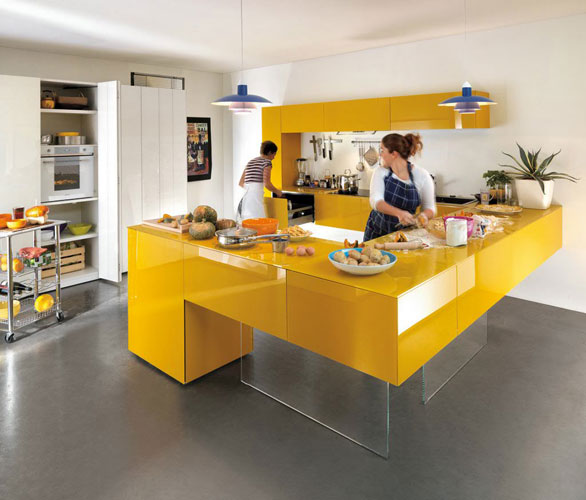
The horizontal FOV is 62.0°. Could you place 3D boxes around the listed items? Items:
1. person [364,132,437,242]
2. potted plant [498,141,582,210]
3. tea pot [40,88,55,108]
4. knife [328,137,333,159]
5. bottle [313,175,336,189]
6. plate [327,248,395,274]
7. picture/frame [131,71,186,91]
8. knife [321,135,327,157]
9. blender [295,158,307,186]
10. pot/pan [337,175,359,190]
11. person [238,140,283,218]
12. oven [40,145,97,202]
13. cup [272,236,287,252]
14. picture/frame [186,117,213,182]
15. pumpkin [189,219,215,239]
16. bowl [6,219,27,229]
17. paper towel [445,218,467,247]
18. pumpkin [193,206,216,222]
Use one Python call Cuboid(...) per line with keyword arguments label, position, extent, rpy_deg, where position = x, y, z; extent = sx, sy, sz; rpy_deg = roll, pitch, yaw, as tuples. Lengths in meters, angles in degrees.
Cuboid(label="person", position=(0.894, -0.291, 4.093), extent=(0.524, 1.254, 0.486), rpy_deg=(11, 22, 25))
Cuboid(label="potted plant", position=(2.497, -0.706, 4.932), extent=(0.778, 0.548, 0.797), rpy_deg=(4, 4, 19))
Cuboid(label="tea pot", position=(-2.976, -1.823, 5.941), extent=(0.170, 0.237, 0.571), rpy_deg=(-7, 17, -25))
Cuboid(label="knife", position=(0.541, -1.440, 7.048), extent=(0.082, 0.310, 0.024), rpy_deg=(9, 17, 33))
Cuboid(label="bottle", position=(0.466, -0.975, 7.104), extent=(0.315, 0.311, 0.180), rpy_deg=(2, 3, 17))
Cuboid(label="plate", position=(0.385, 0.062, 2.740), extent=(0.371, 0.129, 0.305), rpy_deg=(3, 15, 12))
Cuboid(label="picture/frame", position=(-2.050, -2.532, 7.323), extent=(0.100, 0.190, 0.783), rpy_deg=(6, 9, 45))
Cuboid(label="knife", position=(0.450, -1.475, 7.131), extent=(0.021, 0.295, 0.113), rpy_deg=(-12, 18, -39))
Cuboid(label="blender", position=(0.122, -1.169, 7.395), extent=(0.186, 0.394, 0.147), rpy_deg=(7, 16, 26))
Cuboid(label="pot/pan", position=(0.774, -0.943, 6.819), extent=(0.261, 0.224, 0.191), rpy_deg=(-8, 14, -28))
Cuboid(label="person", position=(-0.429, -0.681, 6.261), extent=(0.454, 1.297, 0.438), rpy_deg=(7, 22, 17))
Cuboid(label="oven", position=(-2.888, -0.976, 6.101), extent=(0.435, 0.666, 0.674), rpy_deg=(17, 20, 36))
Cuboid(label="cup", position=(-0.084, -0.034, 3.195), extent=(0.087, 0.091, 0.095), rpy_deg=(1, 5, 0))
Cuboid(label="picture/frame", position=(-1.559, -1.668, 8.202), extent=(0.114, 1.061, 0.604), rpy_deg=(8, 16, 30))
Cuboid(label="pumpkin", position=(-0.638, -0.147, 3.474), extent=(0.130, 0.097, 0.129), rpy_deg=(-5, 10, -38))
Cuboid(label="bowl", position=(-2.510, -0.230, 4.460), extent=(0.163, 0.074, 0.146), rpy_deg=(-15, 21, -43))
Cuboid(label="paper towel", position=(1.047, -0.114, 3.214), extent=(0.163, 0.179, 0.153), rpy_deg=(-10, 13, -43))
Cuboid(label="pumpkin", position=(-0.658, -0.275, 3.662), extent=(0.123, 0.124, 0.133), rpy_deg=(5, 14, 27))
